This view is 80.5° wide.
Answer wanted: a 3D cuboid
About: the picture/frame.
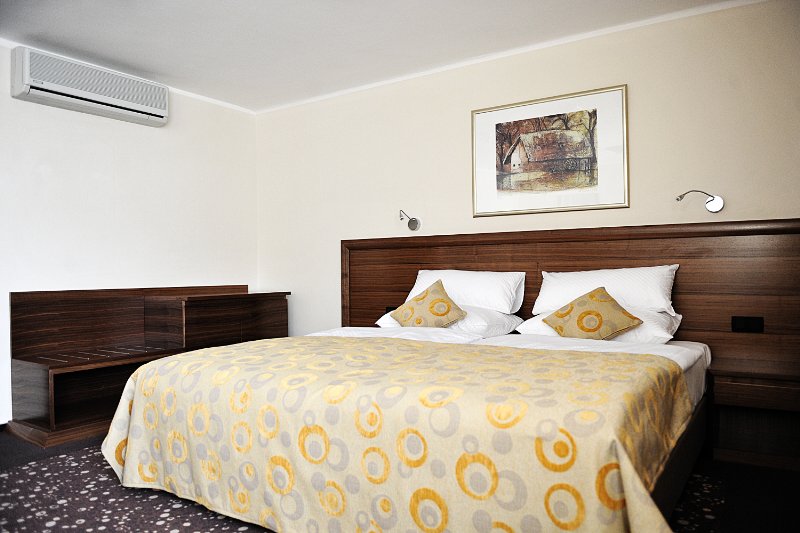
[{"bbox_3d":[1.362,-1.024,4.132,1.330,0.934,0.046,-3,-5,27],"label":"picture/frame"}]
